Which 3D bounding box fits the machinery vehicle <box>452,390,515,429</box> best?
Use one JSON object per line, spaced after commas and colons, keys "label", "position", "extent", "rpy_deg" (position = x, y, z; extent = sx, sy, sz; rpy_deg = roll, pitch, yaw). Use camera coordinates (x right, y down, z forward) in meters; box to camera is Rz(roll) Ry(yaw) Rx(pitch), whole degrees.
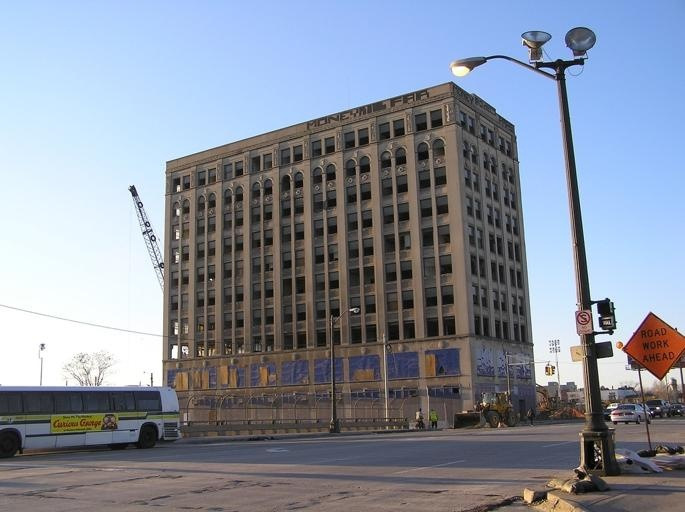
{"label": "machinery vehicle", "position": [11.104, 11.946, 55.550], "extent": [4.262, 2.759, 3.963], "rpy_deg": [1, -12, -15]}
